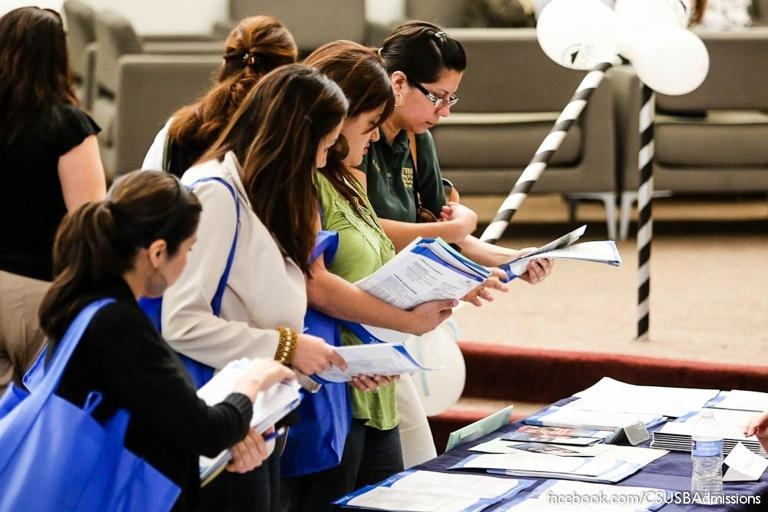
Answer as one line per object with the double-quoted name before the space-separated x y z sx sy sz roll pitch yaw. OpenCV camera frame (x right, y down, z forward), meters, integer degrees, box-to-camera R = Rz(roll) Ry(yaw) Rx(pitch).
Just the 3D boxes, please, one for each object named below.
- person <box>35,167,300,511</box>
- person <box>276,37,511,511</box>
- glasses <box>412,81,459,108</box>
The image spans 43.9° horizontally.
"person" -0.555 0.231 2.486 0.517 1.036 0.442 -11 34 -28
"person" 0.113 0.039 3.633 0.883 1.741 0.539 0 20 -25
"glasses" 0.169 -0.548 3.273 0.106 0.032 0.103 46 17 5
